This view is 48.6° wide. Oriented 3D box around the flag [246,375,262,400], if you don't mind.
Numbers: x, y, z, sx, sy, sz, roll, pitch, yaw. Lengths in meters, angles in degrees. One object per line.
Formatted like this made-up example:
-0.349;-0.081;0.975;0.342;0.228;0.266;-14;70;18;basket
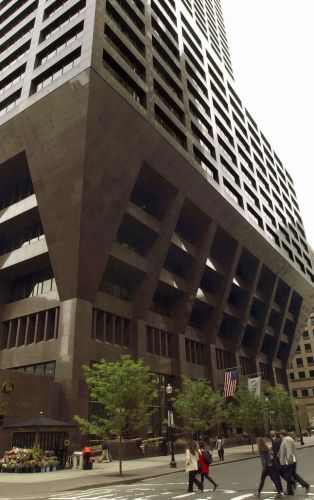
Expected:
9.954;13.968;35.435;1.277;1.782;3.544;-8;-24;11;flag

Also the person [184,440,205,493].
1.025;6.087;9.762;0.412;1.245;1.323;-4;-23;3;person

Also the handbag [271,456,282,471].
2.734;4.892;7.977;0.191;0.396;0.084;10;-13;-28;handbag

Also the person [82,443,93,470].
-3.578;10.880;18.180;0.514;1.034;0.625;7;-25;-24;person

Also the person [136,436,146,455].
-1.208;15.159;26.767;0.636;1.116;1.330;-4;-23;0;person
